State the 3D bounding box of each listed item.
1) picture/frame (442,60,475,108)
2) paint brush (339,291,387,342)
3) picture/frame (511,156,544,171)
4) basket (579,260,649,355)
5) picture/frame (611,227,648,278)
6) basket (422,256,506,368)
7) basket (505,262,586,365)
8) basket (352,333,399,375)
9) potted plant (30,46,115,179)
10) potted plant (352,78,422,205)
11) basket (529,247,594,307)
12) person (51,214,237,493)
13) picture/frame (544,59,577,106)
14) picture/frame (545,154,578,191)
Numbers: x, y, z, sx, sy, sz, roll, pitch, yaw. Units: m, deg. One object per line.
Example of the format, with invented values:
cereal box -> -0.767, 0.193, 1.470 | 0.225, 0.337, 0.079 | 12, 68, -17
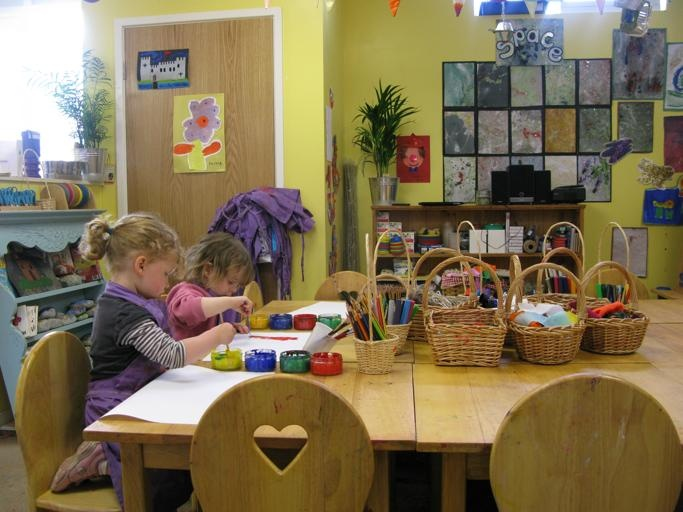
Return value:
picture/frame -> 1.006, -1.474, 4.982 | 0.382, 0.537, 0.046 | 0, 2, 0
paint brush -> 0.058, 0.214, 2.070 | 0.217, 0.141, 0.109 | 6, 12, 38
picture/frame -> 1.555, -0.769, 4.861 | 0.165, 0.121, 0.025 | 2, 7, 11
basket -> 1.022, 0.188, 2.251 | 0.326, 0.329, 0.245 | -1, 11, -12
picture/frame -> 2.476, -0.019, 4.977 | 0.298, 0.429, 0.012 | -1, 2, -12
basket -> 0.457, 0.178, 2.183 | 0.302, 0.399, 0.319 | 1, 10, 15
basket -> 0.752, 0.209, 2.168 | 0.270, 0.352, 0.267 | 0, 0, -37
basket -> 0.119, 0.340, 2.054 | 0.128, 0.099, 0.124 | 0, 4, 14
potted plant -> -1.855, -0.965, 4.204 | 0.586, 0.742, 0.505 | -2, 2, -9
potted plant -> 0.386, -0.921, 4.804 | 0.519, 0.952, 0.497 | 8, 9, 33
basket -> 1.012, 0.163, 2.704 | 0.207, 0.118, 0.311 | 0, 31, 4
person -> -0.694, 0.349, 2.136 | 0.590, 0.944, 0.483 | -2, 2, -3
picture/frame -> 1.854, -1.480, 4.928 | 0.371, 0.546, 0.037 | 0, 1, 1
picture/frame -> 1.886, -0.702, 5.026 | 0.066, 0.309, 0.273 | 16, 11, 42
